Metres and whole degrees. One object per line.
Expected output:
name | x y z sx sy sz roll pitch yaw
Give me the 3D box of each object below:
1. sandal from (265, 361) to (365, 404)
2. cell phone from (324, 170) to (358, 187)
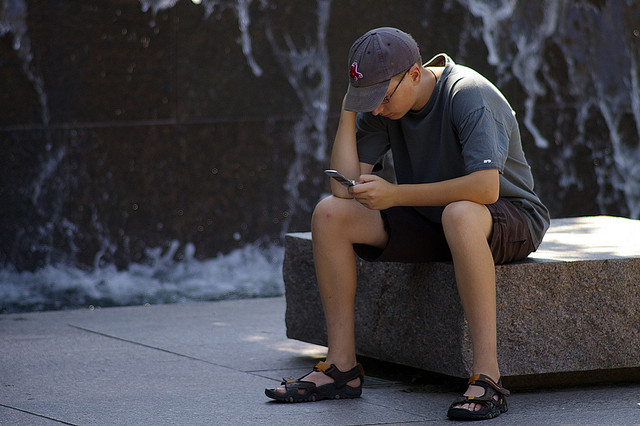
sandal | 0.002 0.818 4.375 0.516 0.218 0.171 2 -6 -13
cell phone | 0.100 -0.172 4.330 0.143 0.091 0.229 0 9 -2
